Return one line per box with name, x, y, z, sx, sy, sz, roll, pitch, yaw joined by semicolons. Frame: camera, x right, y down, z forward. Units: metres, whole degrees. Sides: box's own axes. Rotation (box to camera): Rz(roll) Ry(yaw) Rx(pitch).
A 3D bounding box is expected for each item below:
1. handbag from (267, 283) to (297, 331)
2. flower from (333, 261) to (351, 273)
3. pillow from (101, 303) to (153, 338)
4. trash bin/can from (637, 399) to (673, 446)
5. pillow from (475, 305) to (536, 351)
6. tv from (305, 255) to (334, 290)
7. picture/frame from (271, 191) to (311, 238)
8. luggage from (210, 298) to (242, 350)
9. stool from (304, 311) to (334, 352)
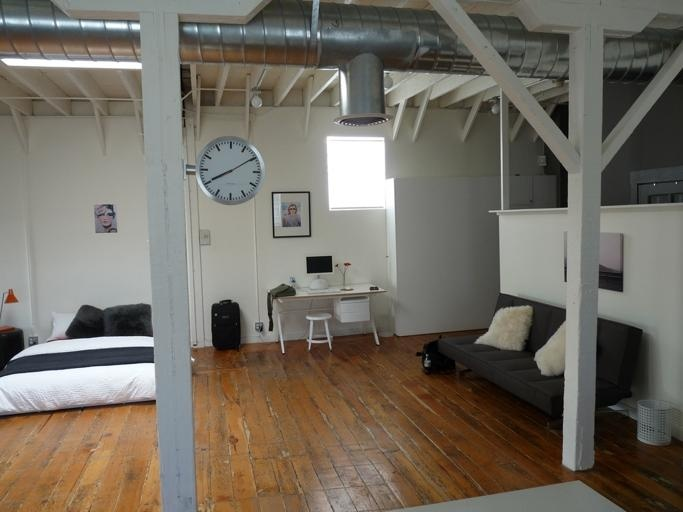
handbag;-1.003;0.759;8.741;0.579;0.865;0.776;0;2;-17
flower;0.011;0.197;9.249;0.176;0.190;0.056;2;8;-6
pillow;-3.175;0.882;8.107;0.715;0.598;0.651;0;-3;-4
trash bin/can;3.050;1.634;5.281;0.352;0.428;0.363;-1;2;3
pillow;2.171;0.883;6.735;0.145;0.595;0.562;30;-20;-32
tv;-0.383;0.276;8.977;0.505;0.684;0.234;0;-3;-15
picture/frame;-0.874;-0.721;8.969;0.695;0.922;0.031;0;1;-18
luggage;-1.890;1.235;8.769;0.479;0.861;0.467;1;-25;-18
stool;-0.338;1.263;8.719;0.486;0.586;0.498;-3;2;-32
